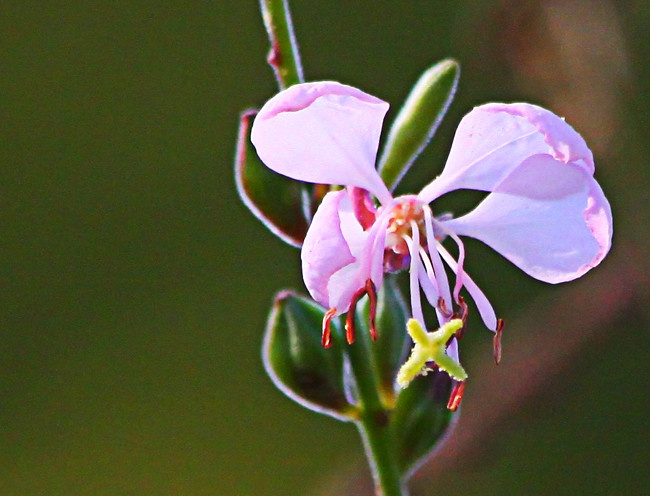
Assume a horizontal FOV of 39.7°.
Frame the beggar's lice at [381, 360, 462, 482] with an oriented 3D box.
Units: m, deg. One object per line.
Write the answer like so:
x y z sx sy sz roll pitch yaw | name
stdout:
0.173 0.304 1.589 0.072 0.267 0.090 15 -6 11 | beggar's lice

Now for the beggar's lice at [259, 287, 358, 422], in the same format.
-0.008 0.177 1.588 0.158 0.065 0.306 -6 -55 16 | beggar's lice
